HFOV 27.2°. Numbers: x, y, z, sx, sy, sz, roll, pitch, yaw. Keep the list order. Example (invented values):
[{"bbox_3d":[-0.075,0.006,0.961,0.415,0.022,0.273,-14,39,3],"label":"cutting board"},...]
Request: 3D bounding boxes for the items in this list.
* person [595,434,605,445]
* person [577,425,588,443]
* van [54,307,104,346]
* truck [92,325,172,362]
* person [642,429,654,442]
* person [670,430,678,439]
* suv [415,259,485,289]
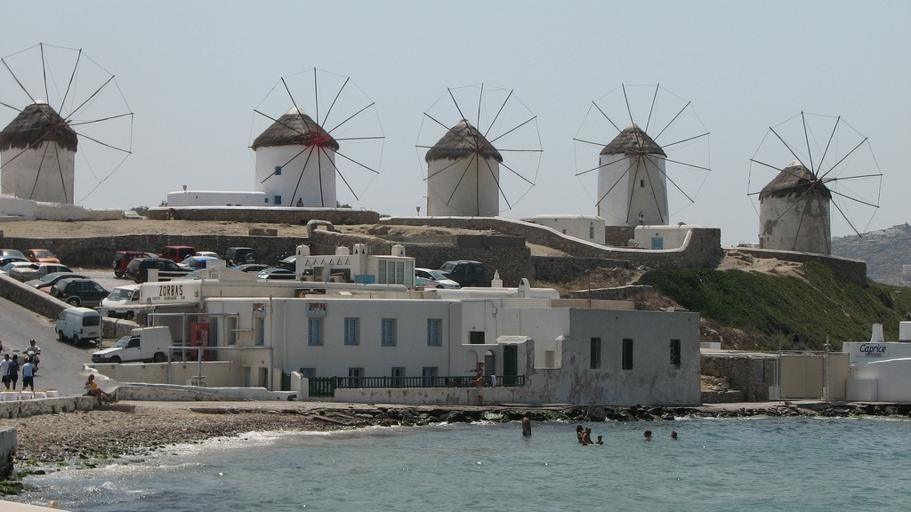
[{"bbox_3d":[10.448,13.846,138.956,0.756,1.088,0.801,-1,-6,18],"label":"person"},{"bbox_3d":[9.198,13.451,138.731,0.513,1.423,0.641,-17,-9,34],"label":"person"},{"bbox_3d":[-28.821,5.439,143.479,3.521,3.004,1.433,-1,-9,2],"label":"van"},{"bbox_3d":[-24.162,6.754,140.257,5.077,2.293,2.796,2,-4,-19],"label":"truck"},{"bbox_3d":[14.373,13.761,141.354,0.811,0.538,1.394,-3,2,2],"label":"person"},{"bbox_3d":[16.398,13.756,141.696,0.414,0.708,0.614,-6,-12,22],"label":"person"},{"bbox_3d":[-0.239,1.366,163.339,4.815,1.883,2.505,2,-2,-27],"label":"suv"}]
